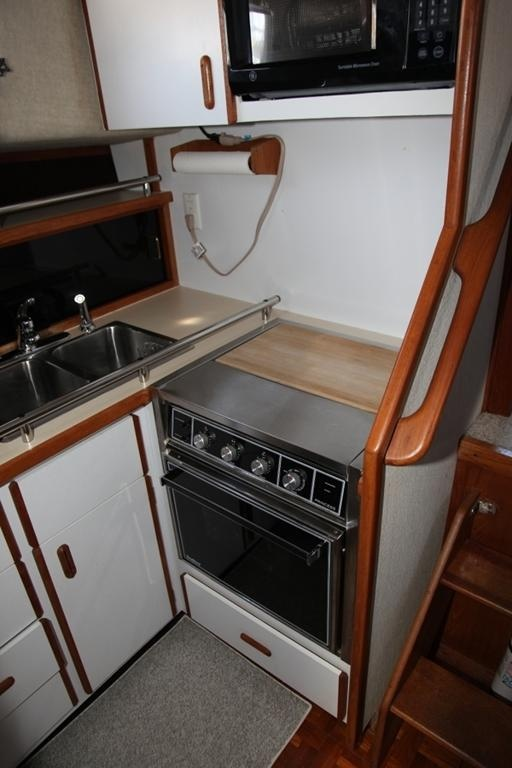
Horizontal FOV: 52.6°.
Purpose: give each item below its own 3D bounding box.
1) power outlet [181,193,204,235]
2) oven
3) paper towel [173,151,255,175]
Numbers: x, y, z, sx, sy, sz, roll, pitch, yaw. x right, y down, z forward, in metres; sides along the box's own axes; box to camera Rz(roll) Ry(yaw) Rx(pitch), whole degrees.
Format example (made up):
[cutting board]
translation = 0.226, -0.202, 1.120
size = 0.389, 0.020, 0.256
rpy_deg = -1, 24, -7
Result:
[power outlet]
translation = -0.247, -0.643, 1.944
size = 0.091, 0.134, 0.042
rpy_deg = 25, 39, 37
[oven]
translation = 0.043, 0.356, 1.468
size = 0.574, 0.638, 0.419
rpy_deg = 16, 33, 26
[paper towel]
translation = -0.135, -0.676, 1.581
size = 0.328, 0.077, 0.063
rpy_deg = 27, 41, 36
